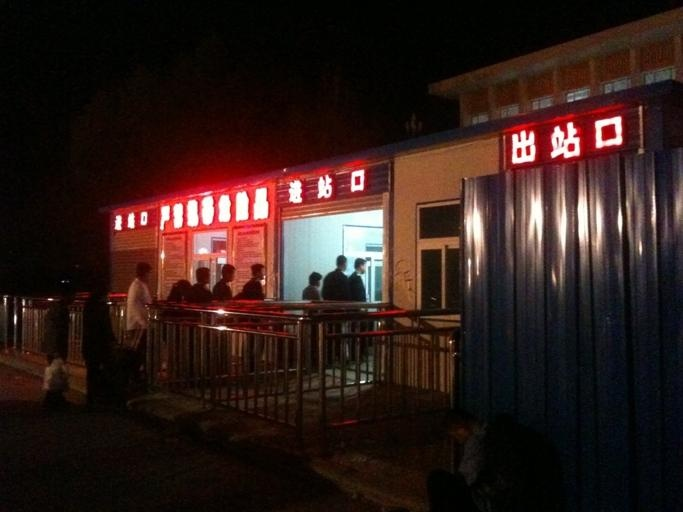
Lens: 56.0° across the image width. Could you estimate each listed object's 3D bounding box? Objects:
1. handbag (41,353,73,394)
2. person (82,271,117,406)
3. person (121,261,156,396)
[{"bbox_3d":[-4.183,1.732,9.447,0.324,0.525,0.455,3,-6,-27],"label":"handbag"},{"bbox_3d":[-3.560,1.245,9.454,0.519,1.841,0.350,1,-5,-1],"label":"person"},{"bbox_3d":[-3.195,1.026,10.120,0.379,1.942,1.262,2,-6,-18],"label":"person"}]
